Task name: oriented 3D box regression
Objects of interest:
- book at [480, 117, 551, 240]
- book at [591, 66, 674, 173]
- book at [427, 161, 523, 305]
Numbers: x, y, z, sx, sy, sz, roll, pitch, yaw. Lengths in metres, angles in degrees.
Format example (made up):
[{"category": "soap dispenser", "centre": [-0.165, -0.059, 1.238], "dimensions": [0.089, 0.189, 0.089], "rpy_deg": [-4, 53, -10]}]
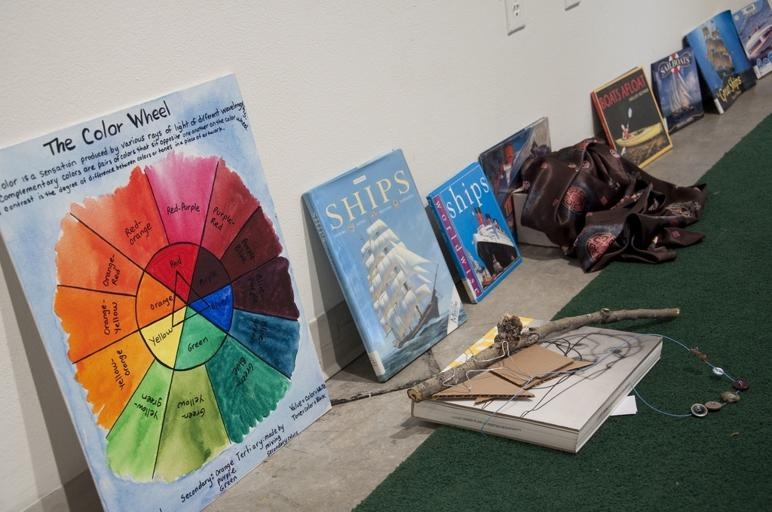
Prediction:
[{"category": "book", "centre": [0.822, -0.490, 3.661], "dimensions": [0.645, 0.579, 0.050], "rpy_deg": [-34, 38, -31]}, {"category": "book", "centre": [1.753, -0.957, 4.250], "dimensions": [0.631, 0.606, 0.068], "rpy_deg": [-30, 3, -30]}, {"category": "book", "centre": [0.458, -0.104, 3.194], "dimensions": [0.606, 0.707, 0.096], "rpy_deg": [-25, 0, -42]}]
